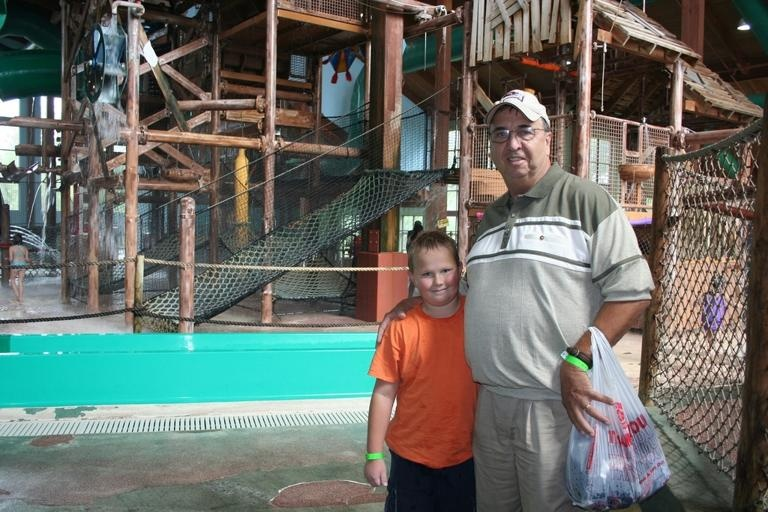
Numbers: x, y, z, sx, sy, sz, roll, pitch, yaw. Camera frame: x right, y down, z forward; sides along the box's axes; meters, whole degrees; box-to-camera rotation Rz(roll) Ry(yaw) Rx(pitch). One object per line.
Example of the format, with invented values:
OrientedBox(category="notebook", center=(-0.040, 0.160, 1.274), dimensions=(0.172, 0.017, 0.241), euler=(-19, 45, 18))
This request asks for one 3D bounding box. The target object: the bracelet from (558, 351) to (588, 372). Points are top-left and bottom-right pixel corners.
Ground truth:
OrientedBox(category="bracelet", center=(1.093, 0.615, 4.293), dimensions=(0.111, 0.047, 0.113), euler=(38, -1, -13))
